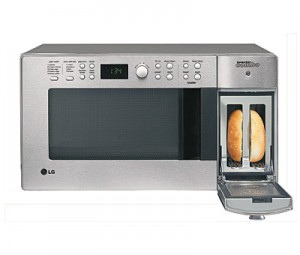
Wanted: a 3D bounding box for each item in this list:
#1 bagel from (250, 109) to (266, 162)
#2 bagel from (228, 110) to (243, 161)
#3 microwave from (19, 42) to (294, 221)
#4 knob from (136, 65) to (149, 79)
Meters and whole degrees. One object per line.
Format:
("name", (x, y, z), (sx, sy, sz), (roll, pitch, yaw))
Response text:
("bagel", (0.458, 0.035, 1.443), (0.074, 0.190, 0.124), (-6, -30, 11))
("bagel", (0.367, 0.034, 1.441), (0.068, 0.189, 0.119), (-3, -30, 6))
("microwave", (0.003, 0.020, 1.729), (0.880, 0.419, 0.845), (0, 7, -1))
("knob", (-0.032, -0.237, 1.422), (0.053, 0.050, 0.038), (1, -29, -2))
